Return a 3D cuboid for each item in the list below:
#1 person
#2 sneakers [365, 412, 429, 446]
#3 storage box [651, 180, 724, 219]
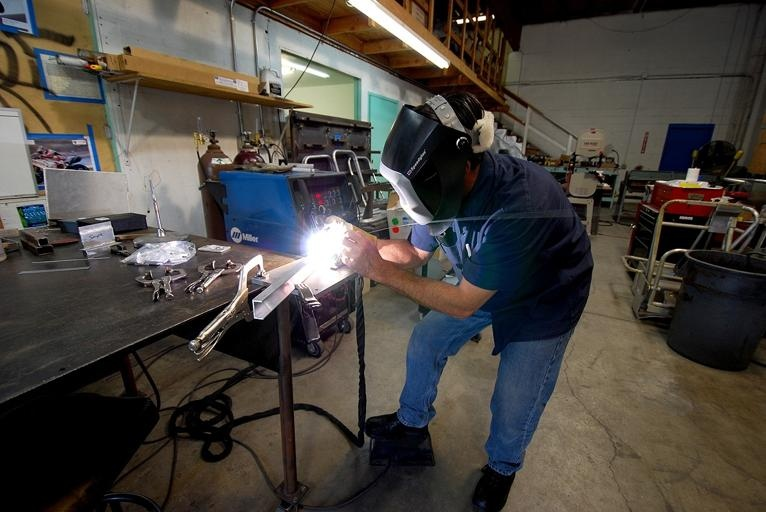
[{"bbox_3d":[0.607,0.354,3.116,1.427,2.743,0.712,7,17,18],"label":"person"},{"bbox_3d":[0.089,1.308,3.490,0.485,0.210,0.207,8,36,-4],"label":"sneakers"},{"bbox_3d":[3.356,-0.676,5.191,0.644,0.407,0.660,13,16,38],"label":"storage box"}]
